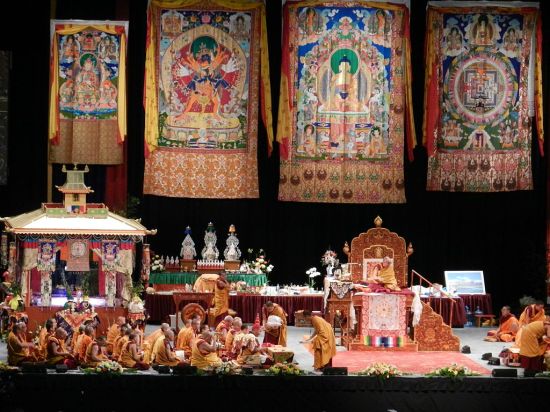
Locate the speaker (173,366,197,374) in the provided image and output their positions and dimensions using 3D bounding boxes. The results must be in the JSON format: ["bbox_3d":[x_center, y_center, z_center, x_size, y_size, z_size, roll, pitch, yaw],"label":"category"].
[{"bbox_3d":[-1.487,2.751,14.077,0.388,0.142,0.090,2,-5,-9],"label":"speaker"}]

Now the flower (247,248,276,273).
[{"bbox_3d":[-0.307,1.293,19.691,0.572,0.763,0.584,4,-9,-16],"label":"flower"}]

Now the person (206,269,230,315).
[{"bbox_3d":[-1.130,1.809,17.358,0.417,0.964,0.513,1,-5,-3],"label":"person"}]

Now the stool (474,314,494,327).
[{"bbox_3d":[4.743,2.627,19.236,0.314,0.202,0.316,-1,-1,43],"label":"stool"}]

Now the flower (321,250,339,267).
[{"bbox_3d":[1.263,1.244,19.495,0.339,0.423,0.412,-1,32,2],"label":"flower"}]

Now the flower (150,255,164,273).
[{"bbox_3d":[-2.666,1.316,19.329,0.318,0.387,0.416,1,-5,-8],"label":"flower"}]
